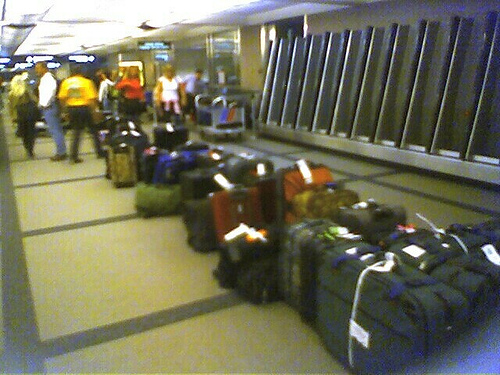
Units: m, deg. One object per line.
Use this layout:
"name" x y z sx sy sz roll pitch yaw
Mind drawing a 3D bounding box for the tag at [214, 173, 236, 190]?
"tag" -0.251 -0.058 3.430 0.200 0.109 0.056 44 37 9

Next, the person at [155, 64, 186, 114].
"person" -1.716 -2.220 7.985 0.578 1.115 0.616 -19 27 -36

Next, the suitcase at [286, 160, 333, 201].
"suitcase" 0.528 -0.098 3.397 0.432 0.398 0.115 8 8 -22

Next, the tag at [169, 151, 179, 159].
"tag" -1.002 -0.409 4.675 0.137 0.032 0.139 -22 33 10

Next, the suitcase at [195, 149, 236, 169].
"suitcase" -0.427 -0.341 4.081 0.287 0.102 0.292 -11 16 -7

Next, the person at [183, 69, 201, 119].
"person" -1.477 -2.309 8.923 0.522 1.293 1.212 -6 22 -9

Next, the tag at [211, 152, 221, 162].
"tag" -0.390 -0.357 4.067 0.087 0.032 0.127 -39 42 -5

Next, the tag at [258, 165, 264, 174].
"tag" 0.101 -0.182 3.514 0.070 0.060 0.111 5 53 -10

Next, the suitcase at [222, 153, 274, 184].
"suitcase" -0.042 -0.121 3.728 0.411 0.121 0.401 -23 26 -25

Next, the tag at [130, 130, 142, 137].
"tag" -1.873 -0.890 5.751 0.093 0.075 0.325 -9 24 -31

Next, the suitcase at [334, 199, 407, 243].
"suitcase" 0.953 0.238 2.828 0.478 0.296 0.321 -7 25 -27

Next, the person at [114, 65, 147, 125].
"person" -3.293 -2.463 9.702 0.774 1.863 0.626 -21 48 -40

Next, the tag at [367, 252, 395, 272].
"tag" 0.794 0.454 2.088 0.116 0.033 0.113 -14 19 -25

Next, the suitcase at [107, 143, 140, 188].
"suitcase" -1.975 -0.321 5.684 0.448 0.598 0.435 -6 -2 18

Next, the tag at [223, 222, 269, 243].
"tag" -0.052 0.370 2.776 0.185 0.052 0.188 -30 43 -33

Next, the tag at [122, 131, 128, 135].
"tag" -2.045 -0.903 5.762 0.096 0.021 0.084 -6 35 12

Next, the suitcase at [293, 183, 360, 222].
"suitcase" 0.700 0.120 3.293 0.495 0.306 0.337 -8 19 -24

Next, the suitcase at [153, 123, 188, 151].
"suitcase" -1.316 -0.818 5.804 0.639 0.554 0.334 -2 5 -28

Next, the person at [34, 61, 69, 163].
"person" -3.566 -1.392 6.350 0.459 1.462 0.513 -8 56 -25

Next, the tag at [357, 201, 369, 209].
"tag" 0.968 0.151 2.995 0.057 0.014 0.059 -16 31 -31

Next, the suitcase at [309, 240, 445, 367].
"suitcase" 0.726 0.697 2.050 0.367 0.509 0.578 -7 27 -30

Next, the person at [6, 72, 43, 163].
"person" -4.482 -1.402 7.042 0.536 1.628 0.541 -11 58 -35

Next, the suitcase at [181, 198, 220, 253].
"suitcase" -0.416 0.365 3.548 0.125 0.480 0.505 -9 12 -40

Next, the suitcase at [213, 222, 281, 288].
"suitcase" -0.037 0.557 2.850 0.553 0.511 0.329 -4 22 -6

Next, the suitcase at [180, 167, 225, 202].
"suitcase" -0.504 -0.012 3.750 0.609 0.300 0.376 -6 -6 -4
